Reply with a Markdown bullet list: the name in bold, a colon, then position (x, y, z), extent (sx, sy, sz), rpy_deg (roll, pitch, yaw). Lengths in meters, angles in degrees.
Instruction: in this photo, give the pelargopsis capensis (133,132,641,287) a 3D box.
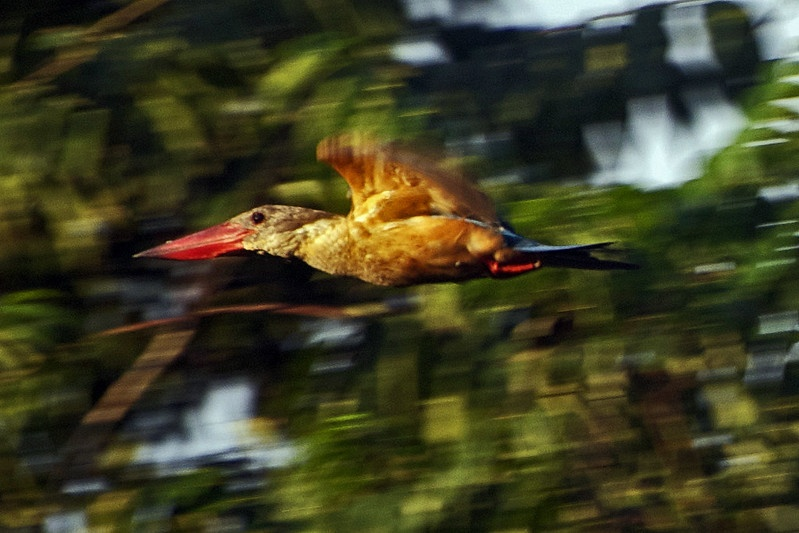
- **pelargopsis capensis**: position (-0.067, -0.039, 1.778), extent (0.633, 0.111, 0.214), rpy_deg (-6, -2, -35)
